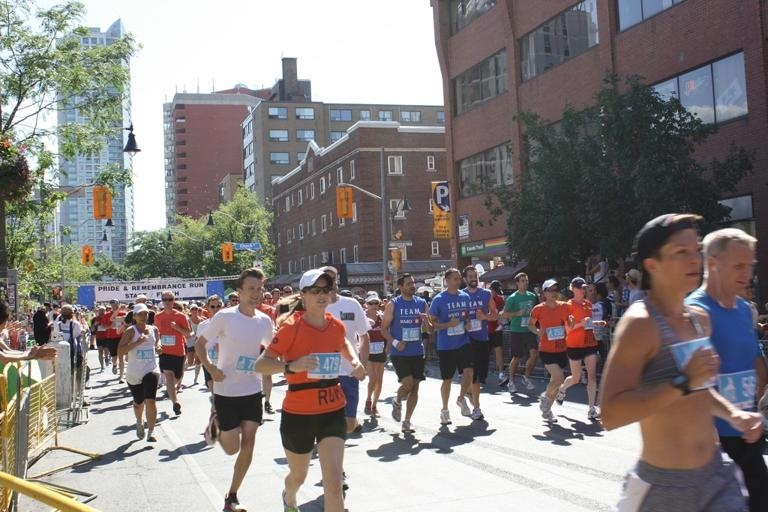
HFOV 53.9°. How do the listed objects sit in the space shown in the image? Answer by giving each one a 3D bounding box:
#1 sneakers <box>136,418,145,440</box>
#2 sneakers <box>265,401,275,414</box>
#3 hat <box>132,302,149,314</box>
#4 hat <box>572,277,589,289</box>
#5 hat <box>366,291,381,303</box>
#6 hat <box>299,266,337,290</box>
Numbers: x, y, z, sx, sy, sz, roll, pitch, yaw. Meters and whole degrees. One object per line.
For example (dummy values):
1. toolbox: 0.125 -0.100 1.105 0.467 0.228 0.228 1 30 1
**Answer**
1. sneakers: -3.978 2.851 12.378 0.145 0.402 0.154 3 -21 -44
2. sneakers: -2.295 2.984 14.834 0.328 0.241 0.117 -1 -1 18
3. hat: -4.278 0.917 13.272 0.451 0.220 0.653 2 -4 -25
4. hat: 3.547 0.493 13.840 0.239 0.177 0.340 -2 -10 -1
5. hat: -0.206 0.791 14.540 0.212 0.230 0.285 3 -22 -7
6. hat: -0.640 0.210 7.908 0.345 0.258 0.551 2 -9 -42
